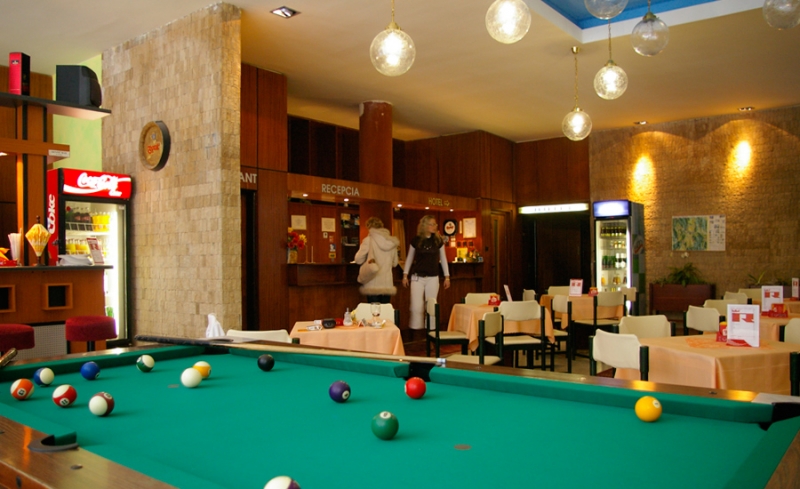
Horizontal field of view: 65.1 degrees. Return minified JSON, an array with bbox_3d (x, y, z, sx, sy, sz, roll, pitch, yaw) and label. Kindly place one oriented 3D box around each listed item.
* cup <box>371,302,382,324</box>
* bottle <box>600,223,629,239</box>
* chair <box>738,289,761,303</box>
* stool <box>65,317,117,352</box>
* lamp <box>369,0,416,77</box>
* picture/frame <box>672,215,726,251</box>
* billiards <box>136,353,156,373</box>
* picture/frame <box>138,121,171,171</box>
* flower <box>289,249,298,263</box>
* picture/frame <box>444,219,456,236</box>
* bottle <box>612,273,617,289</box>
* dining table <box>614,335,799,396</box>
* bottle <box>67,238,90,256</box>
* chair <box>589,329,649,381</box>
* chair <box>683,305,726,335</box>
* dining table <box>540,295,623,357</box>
[{"bbox_3d":[-0.280,0.790,7.271,0.098,0.229,0.170,-1,12,-3],"label":"cup"},{"bbox_3d":[4.174,-0.254,12.325,0.524,0.282,0.476,4,-3,0],"label":"bottle"},{"bbox_3d":[5.301,0.784,9.513,0.197,0.256,0.206,0,-8,2],"label":"chair"},{"bbox_3d":[-3.460,0.945,7.027,0.491,0.510,0.470,1,-3,-7],"label":"stool"},{"bbox_3d":[-0.070,-1.848,5.881,0.394,0.469,0.180,-1,13,-4],"label":"lamp"},{"bbox_3d":[5.930,-0.231,12.381,0.707,0.532,0.038,1,1,37],"label":"picture/frame"},{"bbox_3d":[-1.994,0.933,4.976,0.132,0.134,0.133,-18,33,-35],"label":"billiards"},{"bbox_3d":[-3.420,-1.366,8.743,0.602,0.679,0.128,8,15,34],"label":"picture/frame"},{"bbox_3d":[-1.619,0.170,9.429,0.111,0.176,0.214,-3,13,-14],"label":"flower"},{"bbox_3d":[1.090,-0.377,13.707,0.036,0.250,0.258,-3,48,-44],"label":"picture/frame"},{"bbox_3d":[4.198,0.713,12.277,0.096,0.249,0.233,4,13,19],"label":"bottle"},{"bbox_3d":[2.877,1.117,5.821,0.899,0.351,0.924,-4,-4,45],"label":"dining table"},{"bbox_3d":[-4.602,0.020,8.954,0.183,0.243,0.252,0,-2,33],"label":"bottle"},{"bbox_3d":[2.124,1.051,5.985,0.484,0.646,0.463,0,1,-44],"label":"chair"},{"bbox_3d":[3.580,0.919,7.447,0.318,0.434,0.521,6,14,26],"label":"chair"},{"bbox_3d":[2.795,1.319,9.694,1.166,0.871,1.093,2,4,43],"label":"dining table"}]
